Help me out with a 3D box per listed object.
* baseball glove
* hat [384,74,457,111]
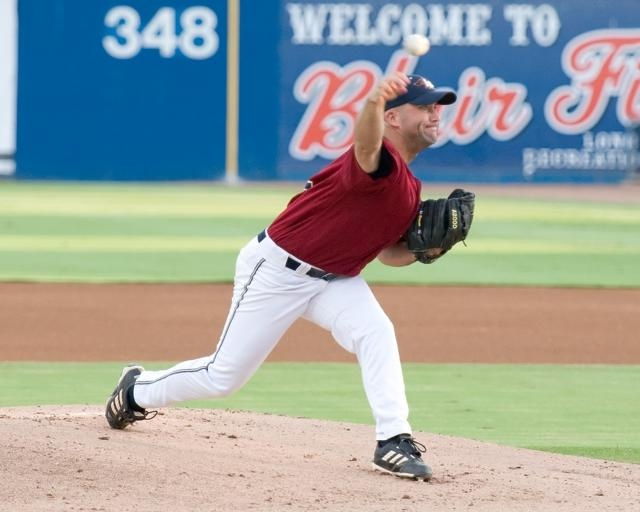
[{"bbox_3d":[1.045,-0.248,11.125,0.501,0.675,0.352,26,3,-24],"label":"baseball glove"},{"bbox_3d":[0.866,-1.385,11.100,0.502,0.228,0.315,-8,4,17],"label":"hat"}]
